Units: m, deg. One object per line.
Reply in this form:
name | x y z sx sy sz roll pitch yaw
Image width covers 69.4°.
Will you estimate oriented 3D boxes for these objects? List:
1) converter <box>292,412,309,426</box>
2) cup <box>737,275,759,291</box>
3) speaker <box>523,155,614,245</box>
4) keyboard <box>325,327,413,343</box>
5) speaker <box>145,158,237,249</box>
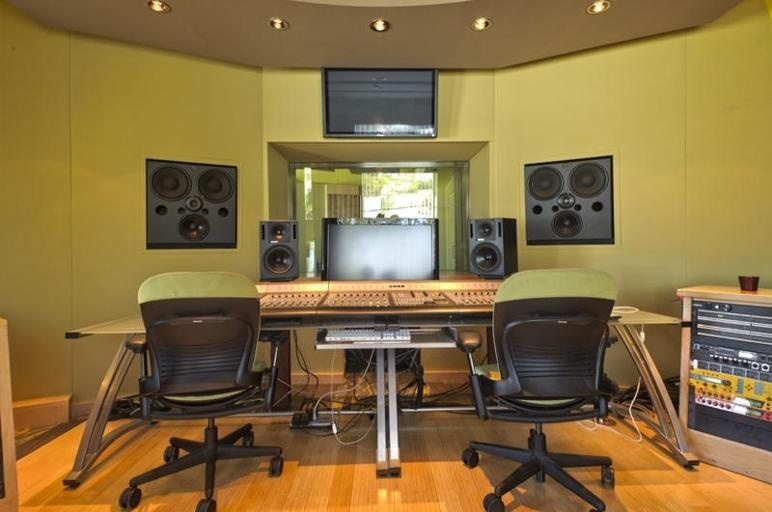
converter | -0.704 1.369 4.650 0.112 0.050 0.105 0 6 -1
cup | 2.791 0.215 4.326 0.147 0.102 0.143 1 -5 0
speaker | 1.742 -0.525 5.194 0.886 0.794 0.443 1 1 14
keyboard | -0.139 0.586 4.189 0.631 0.091 0.208 -1 6 -3
speaker | -1.812 -0.488 5.111 0.892 0.807 0.291 1 1 -8
